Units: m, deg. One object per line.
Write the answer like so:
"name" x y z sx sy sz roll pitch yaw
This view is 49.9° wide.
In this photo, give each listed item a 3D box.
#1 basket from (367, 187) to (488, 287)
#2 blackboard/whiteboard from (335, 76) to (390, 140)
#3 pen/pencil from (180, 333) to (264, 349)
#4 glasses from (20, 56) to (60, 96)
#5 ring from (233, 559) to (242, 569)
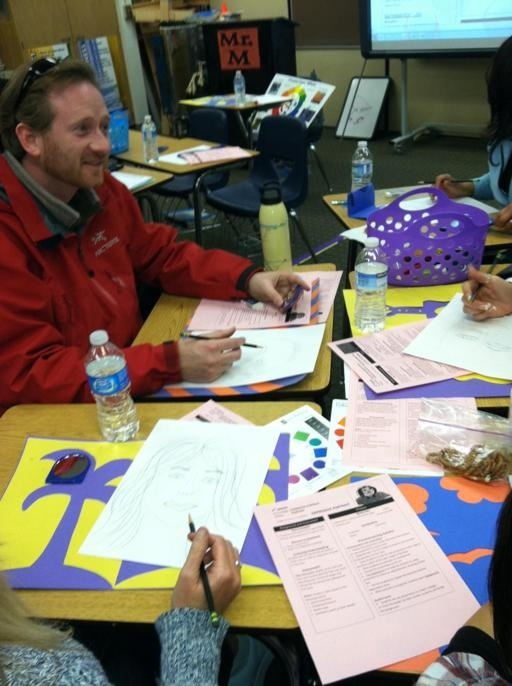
"basket" 0.454 -0.282 1.545 0.327 0.210 0.244 -7 34 1
"blackboard/whiteboard" 1.150 -2.582 6.038 0.560 0.621 0.297 17 39 41
"pen/pencil" -0.077 -0.004 1.261 0.191 0.020 0.021 5 13 8
"glasses" -0.535 -0.648 1.384 0.032 0.098 0.098 42 28 -4
"ring" -0.024 0.303 0.752 0.010 0.004 0.012 17 41 -28
